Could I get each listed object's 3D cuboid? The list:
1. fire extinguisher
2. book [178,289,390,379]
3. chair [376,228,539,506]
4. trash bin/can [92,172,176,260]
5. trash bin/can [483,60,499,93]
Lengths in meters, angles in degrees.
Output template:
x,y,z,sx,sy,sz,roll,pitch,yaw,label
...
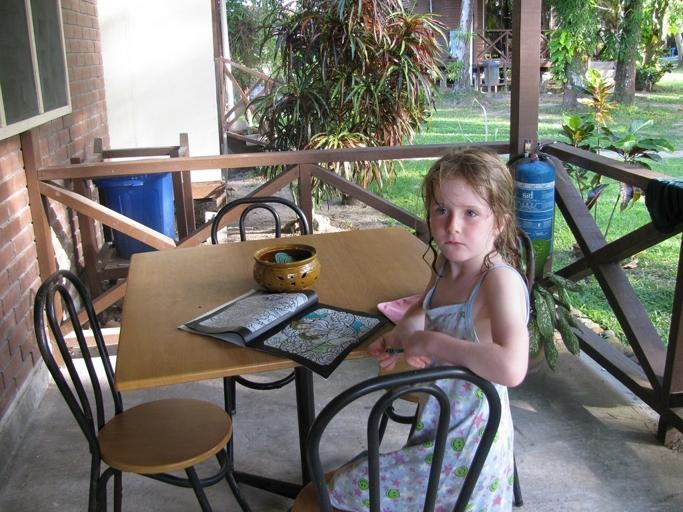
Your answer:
x,y,z,sx,sy,sz,roll,pitch,yaw,label
0.963,-0.277,2.801,0.280,0.630,0.321,-2,18,-2,fire extinguisher
-0.149,0.180,1.495,0.473,0.047,0.359,11,20,30,book
0.385,0.409,1.720,0.479,1.043,0.514,10,20,15,chair
-1.454,-0.398,3.979,0.514,0.777,0.570,0,17,-10,trash bin/can
4.051,-4.787,14.217,0.546,0.805,0.572,10,26,30,trash bin/can
